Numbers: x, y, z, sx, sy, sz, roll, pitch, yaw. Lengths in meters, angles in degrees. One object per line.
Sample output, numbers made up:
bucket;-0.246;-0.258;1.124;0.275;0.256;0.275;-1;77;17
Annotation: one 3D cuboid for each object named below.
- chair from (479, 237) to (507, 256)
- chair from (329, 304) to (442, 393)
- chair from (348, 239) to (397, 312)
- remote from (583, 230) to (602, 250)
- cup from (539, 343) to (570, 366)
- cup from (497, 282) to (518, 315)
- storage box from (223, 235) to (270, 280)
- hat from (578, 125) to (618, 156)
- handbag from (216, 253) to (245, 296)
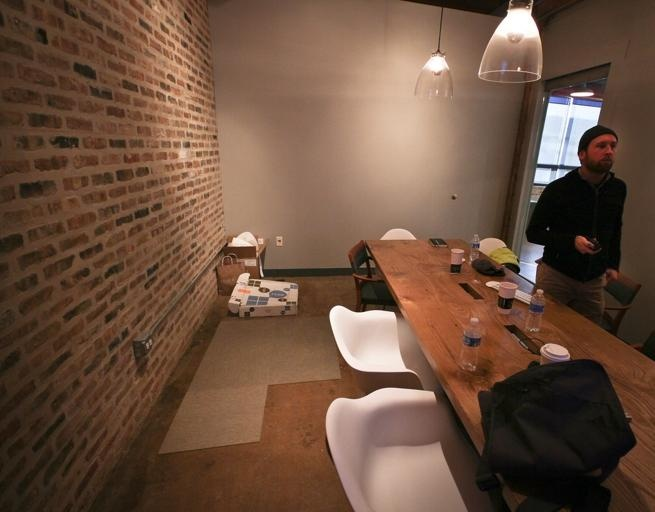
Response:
chair;1.578;-0.105;4.169;0.200;0.278;0.192;-2;18;1
chair;0.303;0.509;2.577;0.446;0.632;0.526;-14;32;10
chair;0.463;0.248;3.863;0.483;0.663;0.471;-2;23;8
remote;1.753;-0.108;2.870;0.068;0.035;0.133;-10;44;9
cup;1.058;0.441;2.043;0.105;0.095;0.109;-2;23;1
cup;1.095;0.257;2.654;0.108;0.167;0.111;3;13;-1
storage box;-0.904;-0.040;4.910;0.464;0.508;0.456;-1;15;-5
hat;1.851;-0.770;2.971;0.190;0.167;0.199;-2;7;3
handbag;-1.044;0.197;4.724;0.305;0.393;0.287;0;16;-4
